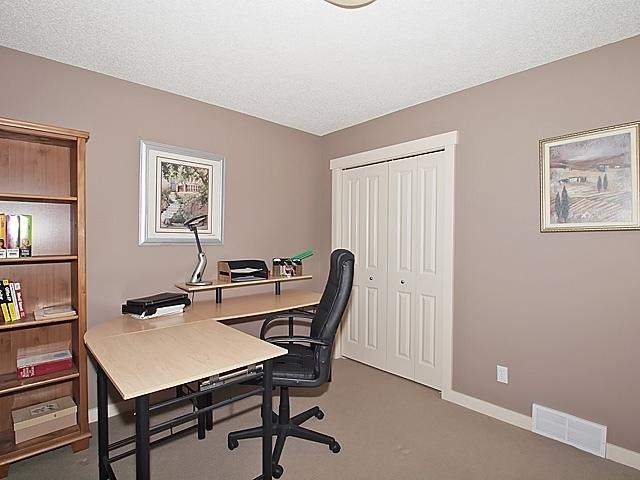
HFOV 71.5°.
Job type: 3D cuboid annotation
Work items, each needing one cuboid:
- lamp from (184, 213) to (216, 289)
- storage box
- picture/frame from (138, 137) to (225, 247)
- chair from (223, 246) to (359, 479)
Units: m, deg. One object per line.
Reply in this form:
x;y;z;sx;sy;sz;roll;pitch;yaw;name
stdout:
-1.150;0.105;4.185;0.219;0.628;0.537;-3;14;-13;lamp
-2.123;1.389;3.460;0.412;0.158;0.237;-8;16;-33;storage box
-1.341;-0.462;4.201;0.067;1.249;1.116;-1;-2;45;picture/frame
-0.195;0.869;3.511;0.872;1.543;1.040;2;14;5;chair
